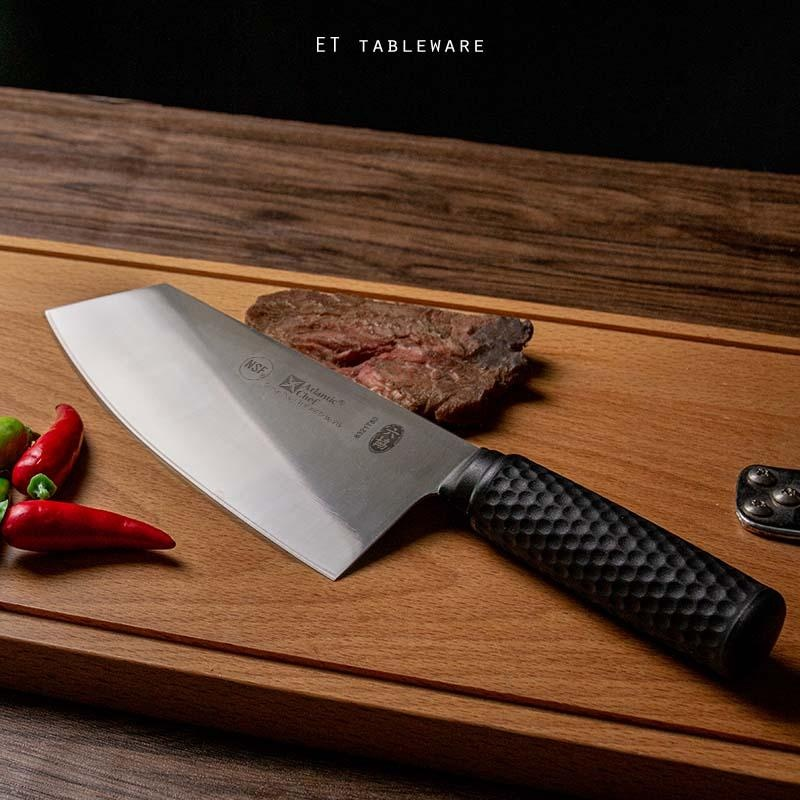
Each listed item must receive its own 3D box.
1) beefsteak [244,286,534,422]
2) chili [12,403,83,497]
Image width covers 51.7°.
[{"bbox_3d":[-0.008,-0.061,0.891,0.264,0.027,0.160,20,38,24],"label":"beefsteak"},{"bbox_3d":[-0.304,0.042,0.744,0.048,0.031,0.079,27,34,-18],"label":"chili"}]
